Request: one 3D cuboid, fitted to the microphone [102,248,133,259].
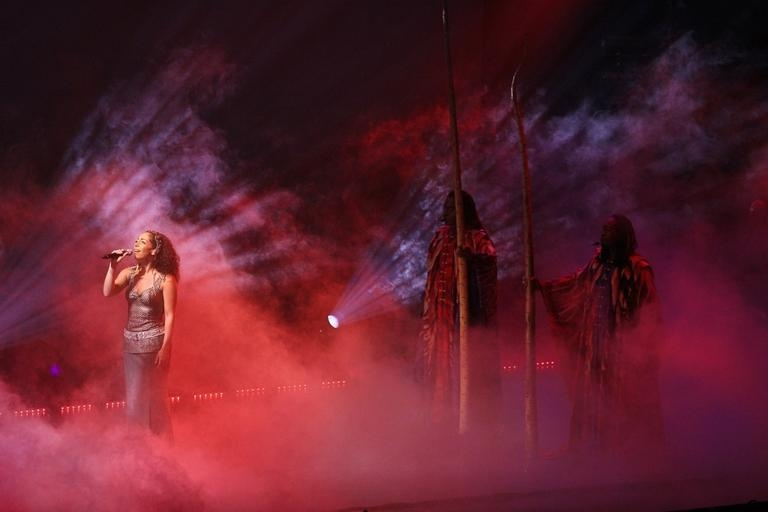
[{"bbox_3d":[-3.521,-0.033,8.322,0.121,0.160,0.534,9,8,37],"label":"microphone"}]
